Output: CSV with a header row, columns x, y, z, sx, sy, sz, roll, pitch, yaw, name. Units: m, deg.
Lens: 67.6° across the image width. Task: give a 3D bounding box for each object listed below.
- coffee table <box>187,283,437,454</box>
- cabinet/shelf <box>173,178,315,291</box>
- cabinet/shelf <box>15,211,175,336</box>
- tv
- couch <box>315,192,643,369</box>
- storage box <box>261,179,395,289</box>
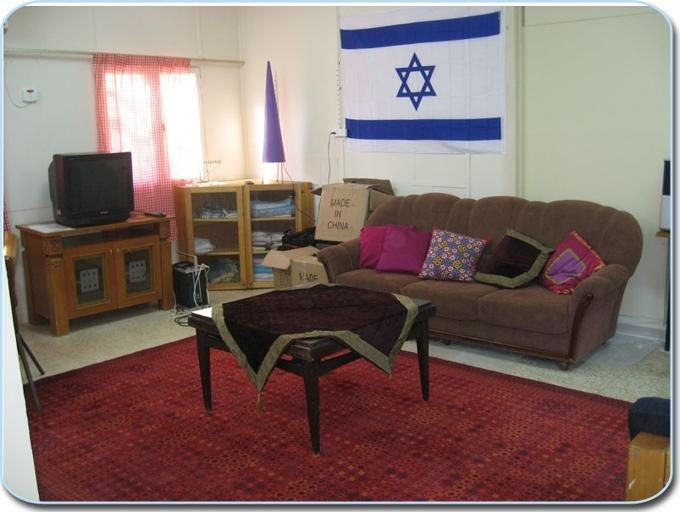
x,y,z,sx,sy,sz,roll,pitch,yaw,name
-0.337,0.505,3.063,1.024,0.576,1.012,-6,6,-42,coffee table
-1.084,-0.227,6.063,1.442,1.154,0.516,-3,-9,1,cabinet/shelf
-2.103,0.133,5.051,1.246,0.858,0.696,-8,-2,5,cabinet/shelf
-2.442,-0.592,4.890,0.520,0.640,0.692,-7,4,25,tv
1.123,0.097,4.423,2.570,1.107,1.118,6,18,41,couch
-0.176,-0.189,5.485,1.201,1.472,1.233,-5,8,-39,storage box
